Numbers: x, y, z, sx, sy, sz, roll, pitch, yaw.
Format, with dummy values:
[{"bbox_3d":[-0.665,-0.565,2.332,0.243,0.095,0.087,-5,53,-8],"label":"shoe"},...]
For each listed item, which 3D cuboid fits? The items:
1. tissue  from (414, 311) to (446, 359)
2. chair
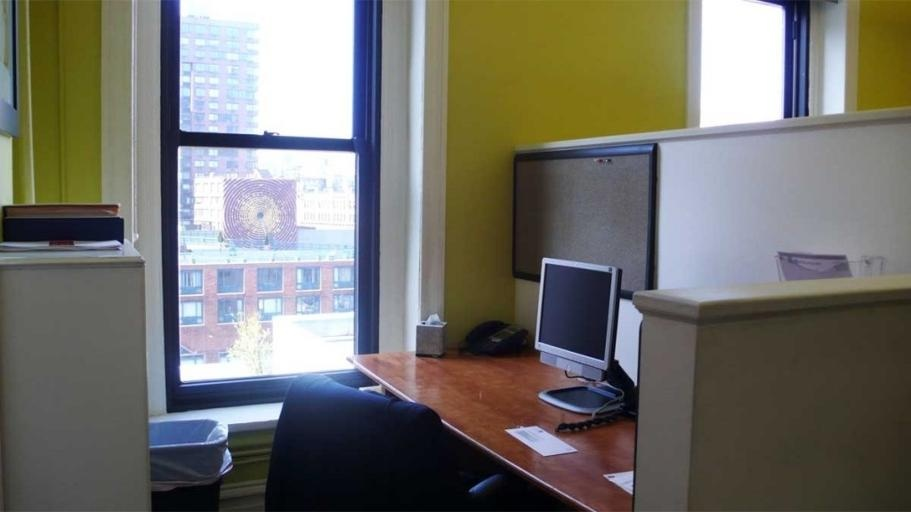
[{"bbox_3d":[-0.138,0.464,3.911,0.229,0.315,0.237,1,1,16],"label":"tissue "},{"bbox_3d":[-0.267,0.703,2.677,0.657,0.520,0.621,0,-4,36],"label":"chair"}]
